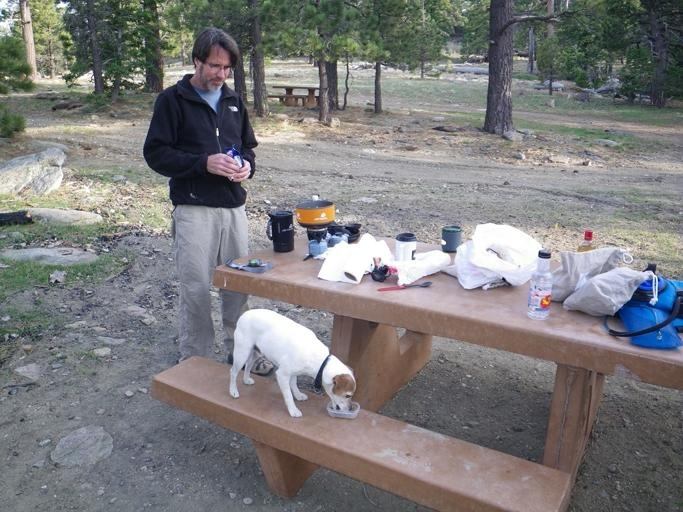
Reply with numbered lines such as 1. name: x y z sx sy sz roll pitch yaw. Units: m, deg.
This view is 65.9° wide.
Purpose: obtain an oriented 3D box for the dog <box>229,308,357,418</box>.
1. dog: -0.327 0.679 3.323 0.846 0.611 0.347 12 17 19

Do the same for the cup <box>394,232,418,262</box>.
1. cup: 0.428 -0.066 3.635 0.124 0.195 0.198 12 24 29

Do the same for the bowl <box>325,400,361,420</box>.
1. bowl: 0.017 0.949 3.258 0.134 0.042 0.100 1 12 10

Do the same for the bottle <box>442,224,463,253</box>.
1. bottle: 0.810 -0.125 3.887 0.181 0.183 0.160 -1 13 -3

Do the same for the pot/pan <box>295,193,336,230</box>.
1. pot/pan: -0.206 -0.331 3.948 0.308 0.199 0.315 11 26 21
